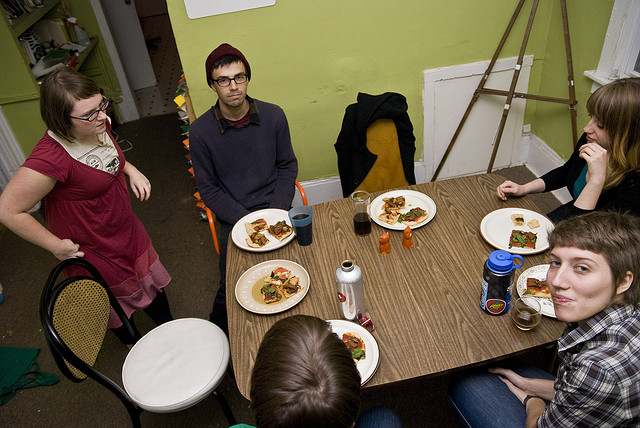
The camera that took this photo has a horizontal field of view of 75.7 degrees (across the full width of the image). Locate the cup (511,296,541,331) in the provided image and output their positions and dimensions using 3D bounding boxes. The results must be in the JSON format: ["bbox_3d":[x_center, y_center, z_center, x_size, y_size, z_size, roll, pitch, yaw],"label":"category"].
[{"bbox_3d":[0.921,0.458,1.909,0.115,0.131,0.124,-3,47,4],"label":"cup"}]

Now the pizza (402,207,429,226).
[{"bbox_3d":[0.536,0.016,2.326,0.118,0.038,0.084,-32,53,-24],"label":"pizza"}]

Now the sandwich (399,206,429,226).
[{"bbox_3d":[0.536,0.014,2.328,0.123,0.034,0.092,-24,49,-20],"label":"sandwich"}]

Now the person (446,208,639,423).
[{"bbox_3d":[0.949,0.493,1.748,0.658,0.854,0.633,9,47,17],"label":"person"}]

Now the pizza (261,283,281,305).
[{"bbox_3d":[-0.255,0.388,2.051,0.091,0.030,0.104,-13,46,-4],"label":"pizza"}]

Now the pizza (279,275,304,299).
[{"bbox_3d":[-0.163,0.362,2.051,0.094,0.029,0.086,-36,62,-19],"label":"pizza"}]

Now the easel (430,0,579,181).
[{"bbox_3d":[1.593,-0.977,3.373,1.068,1.257,0.890,5,46,13],"label":"easel"}]

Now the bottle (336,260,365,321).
[{"bbox_3d":[0.136,0.348,1.882,0.121,0.306,0.117,-4,44,4],"label":"bottle"}]

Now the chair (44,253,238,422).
[{"bbox_3d":[-0.941,0.669,2.144,0.891,0.840,0.554,11,47,18],"label":"chair"}]

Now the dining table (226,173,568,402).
[{"bbox_3d":[0.360,0.324,2.391,1.271,1.042,0.660,-21,7,12],"label":"dining table"}]

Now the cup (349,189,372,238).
[{"bbox_3d":[0.221,0.009,2.323,0.119,0.265,0.205,11,34,25],"label":"cup"}]

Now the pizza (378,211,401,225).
[{"bbox_3d":[0.390,0.016,2.351,0.078,0.015,0.094,8,41,17],"label":"pizza"}]

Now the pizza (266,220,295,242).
[{"bbox_3d":[-0.243,0.094,2.345,0.118,0.036,0.115,-36,67,-20],"label":"pizza"}]

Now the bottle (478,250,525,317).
[{"bbox_3d":[0.821,0.309,1.864,0.166,0.288,0.132,11,36,32],"label":"bottle"}]
